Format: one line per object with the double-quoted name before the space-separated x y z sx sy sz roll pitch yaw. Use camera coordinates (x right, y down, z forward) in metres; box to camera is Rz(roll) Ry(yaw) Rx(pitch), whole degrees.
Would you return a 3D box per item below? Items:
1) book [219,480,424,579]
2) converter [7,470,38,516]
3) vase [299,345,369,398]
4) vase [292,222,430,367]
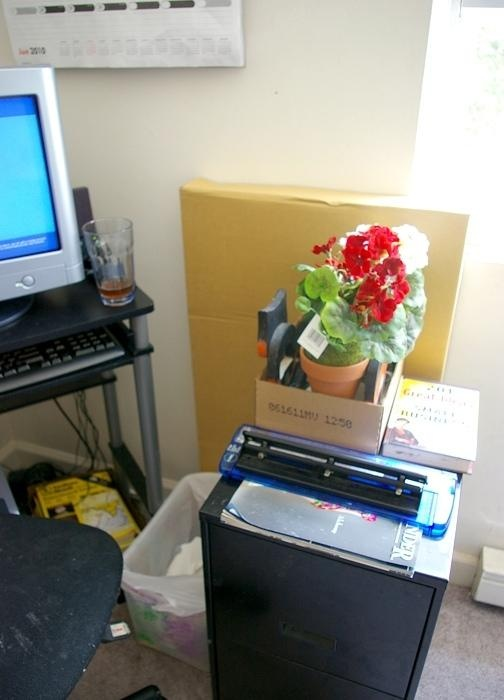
"book" 0.117 0.265 0.833 0.203 0.008 0.088 15 45 26
"converter" -0.775 0.475 1.868 0.132 0.036 0.130 -7 60 12
"vase" 0.133 0.045 0.887 0.085 0.070 0.087 24 42 28
"vase" 0.170 -0.093 0.903 0.208 0.190 0.221 15 59 5
